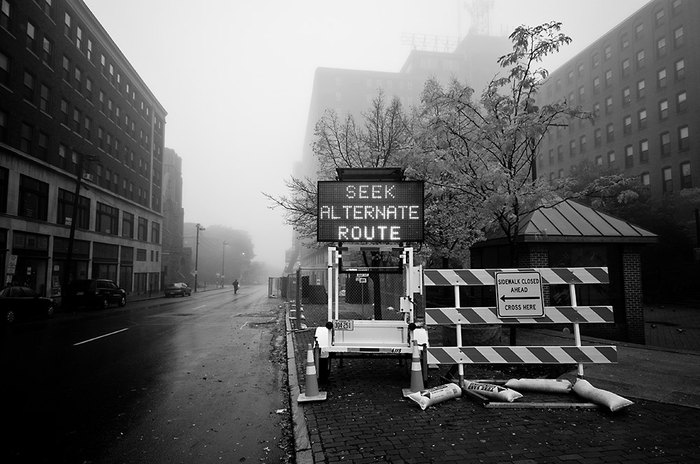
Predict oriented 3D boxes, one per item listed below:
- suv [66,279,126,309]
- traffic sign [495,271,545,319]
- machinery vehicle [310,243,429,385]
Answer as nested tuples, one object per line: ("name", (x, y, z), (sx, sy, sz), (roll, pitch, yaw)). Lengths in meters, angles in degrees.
("suv", (-17.096, 4.146, 34.623), (1.815, 1.941, 4.786), (0, -2, 6))
("traffic sign", (5.220, 1.957, 15.919), (1.293, 1.269, 0.179), (0, -7, 3))
("machinery vehicle", (0.988, 2.722, 18.840), (3.271, 3.953, 5.098), (0, -7, 2))
